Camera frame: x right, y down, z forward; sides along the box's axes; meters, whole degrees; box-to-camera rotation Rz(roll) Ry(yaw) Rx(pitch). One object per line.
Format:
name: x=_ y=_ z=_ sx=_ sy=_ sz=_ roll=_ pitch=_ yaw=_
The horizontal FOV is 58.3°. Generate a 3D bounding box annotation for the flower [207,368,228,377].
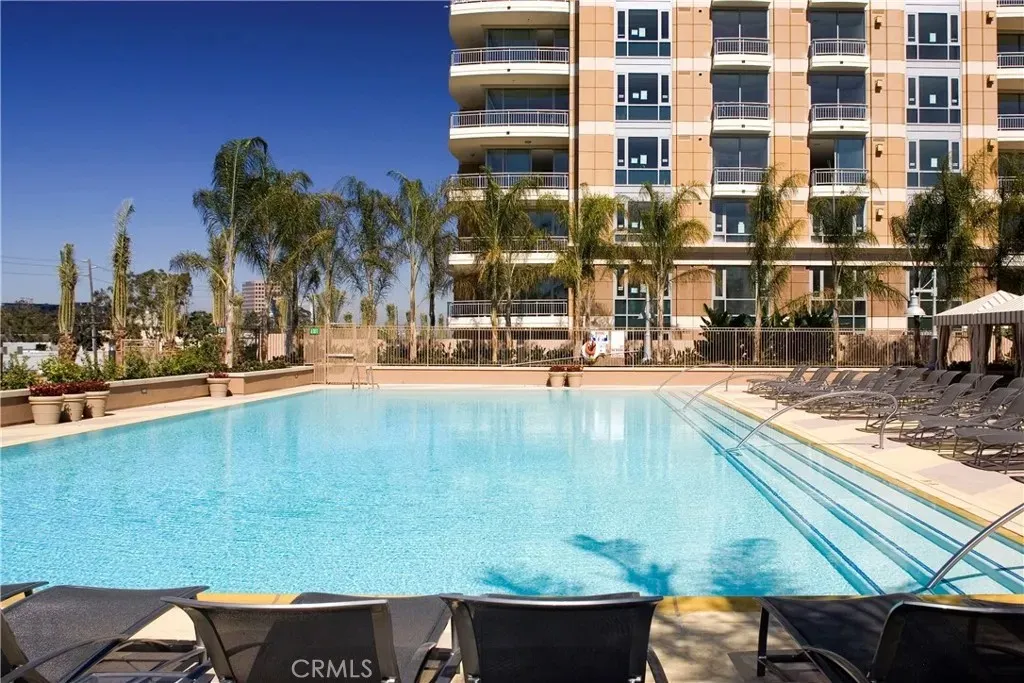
flower: x=-10.408 y=1.070 z=32.136 sx=0.578 sy=0.304 sz=0.706 roll=-3 pitch=2 yaw=-18

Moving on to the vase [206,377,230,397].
vase: x=-10.298 y=1.583 z=31.728 sx=0.597 sy=0.562 sz=0.662 roll=1 pitch=-5 yaw=-3

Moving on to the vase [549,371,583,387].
vase: x=2.047 y=1.496 z=36.453 sx=0.943 sy=0.559 sz=0.615 roll=0 pitch=-5 yaw=1

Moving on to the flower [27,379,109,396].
flower: x=-12.287 y=1.259 z=25.158 sx=0.666 sy=0.328 sz=0.982 roll=0 pitch=2 yaw=23
